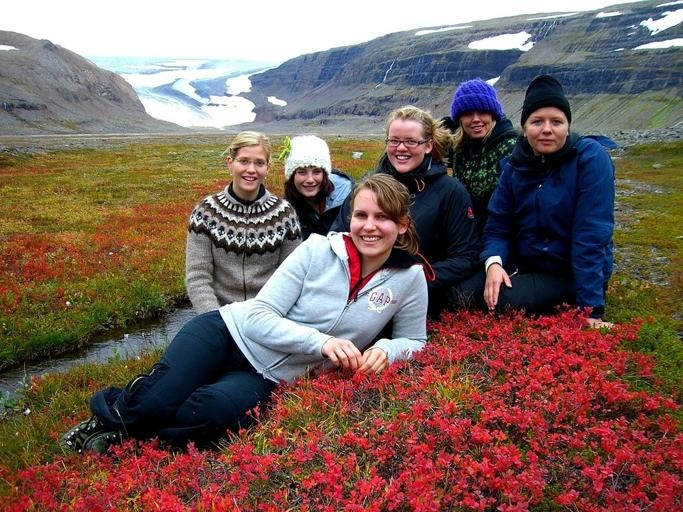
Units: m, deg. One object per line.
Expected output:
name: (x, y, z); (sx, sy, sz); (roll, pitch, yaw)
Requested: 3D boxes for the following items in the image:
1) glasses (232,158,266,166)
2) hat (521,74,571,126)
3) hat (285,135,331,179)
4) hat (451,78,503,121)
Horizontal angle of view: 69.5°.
glasses: (-1.413, -1.447, 7.629); (0.456, 0.129, 0.150); (-4, 20, -7)
hat: (3.018, -2.233, 7.199); (0.708, 0.718, 0.777); (3, -16, 6)
hat: (-0.604, -1.728, 8.797); (0.820, 0.726, 0.788); (-1, 11, -11)
hat: (2.360, -2.724, 8.842); (0.852, 0.663, 0.825); (1, -1, -16)
